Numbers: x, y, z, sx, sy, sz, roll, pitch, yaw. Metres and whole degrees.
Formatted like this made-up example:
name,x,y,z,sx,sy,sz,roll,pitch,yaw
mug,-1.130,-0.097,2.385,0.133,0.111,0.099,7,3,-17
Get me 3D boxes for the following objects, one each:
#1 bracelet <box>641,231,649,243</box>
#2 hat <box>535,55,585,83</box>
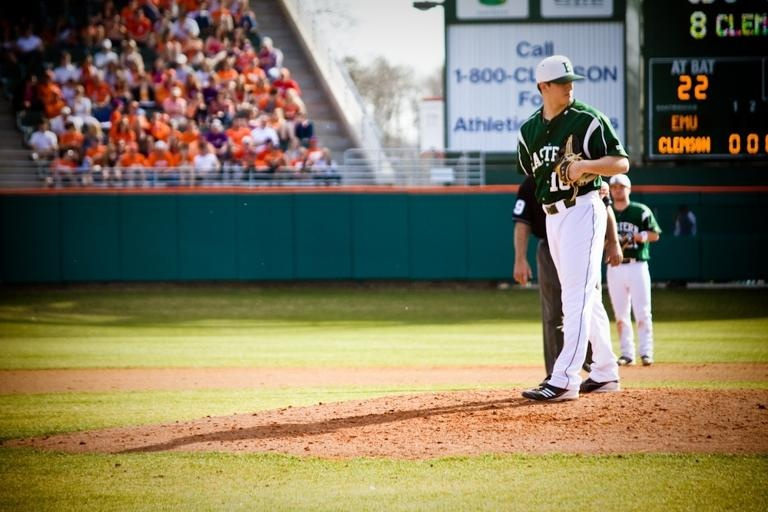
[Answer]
name,x,y,z,sx,sy,sz,roll,pitch,yaw
bracelet,3.720,-0.267,19.887,0.123,0.115,0.144,5,20,14
hat,2.170,-2.444,18.256,0.569,0.317,0.388,7,19,35
